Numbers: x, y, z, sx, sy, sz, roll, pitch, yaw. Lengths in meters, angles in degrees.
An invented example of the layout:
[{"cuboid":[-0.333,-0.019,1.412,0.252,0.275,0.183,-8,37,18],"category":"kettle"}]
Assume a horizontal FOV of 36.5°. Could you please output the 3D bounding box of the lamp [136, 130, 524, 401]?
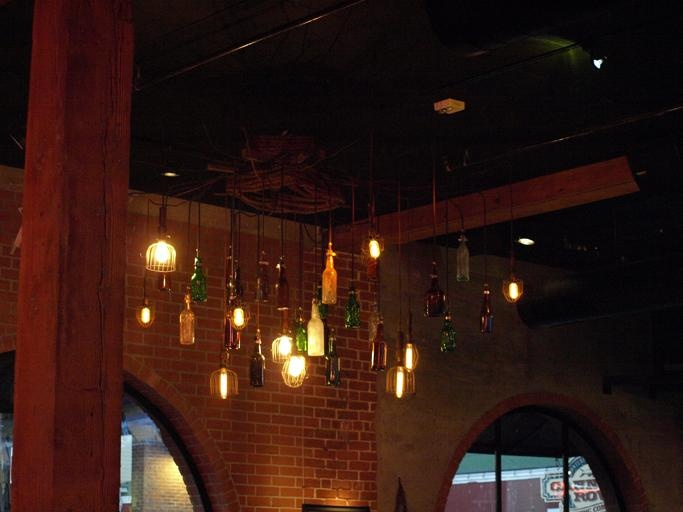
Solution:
[{"cuboid":[-0.284,-0.066,7.611,2.138,1.181,2.320,5,-17,-8],"category":"lamp"}]
